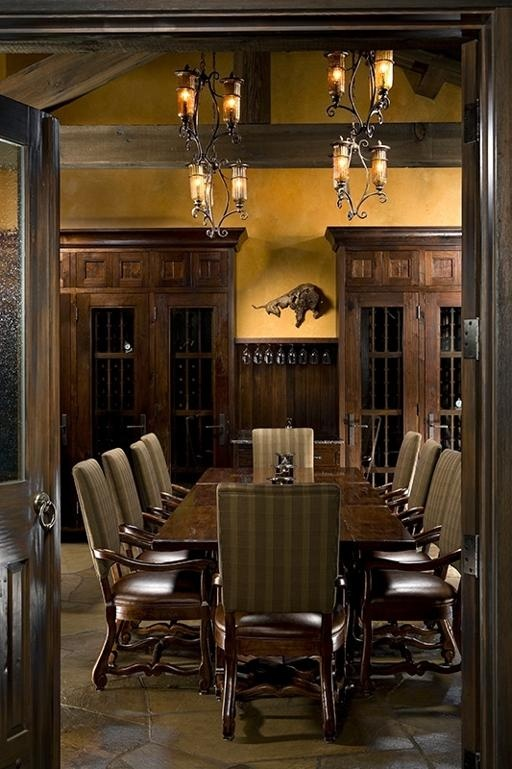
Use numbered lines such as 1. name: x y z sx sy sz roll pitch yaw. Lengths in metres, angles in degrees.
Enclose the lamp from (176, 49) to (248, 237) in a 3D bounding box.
1. lamp: -0.259 -1.533 4.067 0.370 1.456 0.322 -6 9 -14
